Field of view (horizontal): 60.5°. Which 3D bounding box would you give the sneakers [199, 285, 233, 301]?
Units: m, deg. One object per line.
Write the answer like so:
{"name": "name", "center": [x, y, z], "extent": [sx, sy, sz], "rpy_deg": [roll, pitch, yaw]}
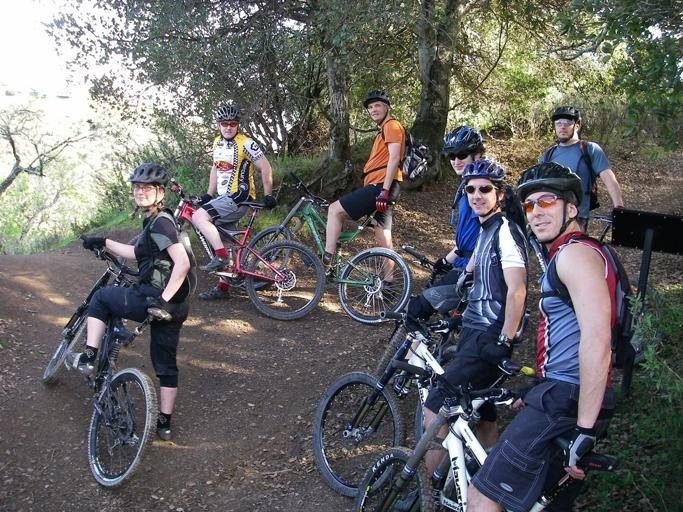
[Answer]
{"name": "sneakers", "center": [-1.903, 0.536, 8.845], "extent": [0.470, 0.210, 0.174], "rpy_deg": [1, 25, -22]}

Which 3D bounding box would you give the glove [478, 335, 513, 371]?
{"name": "glove", "center": [1.190, 0.726, 4.521], "extent": [0.225, 0.146, 0.311], "rpy_deg": [2, 3, 5]}

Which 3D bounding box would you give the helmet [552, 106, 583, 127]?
{"name": "helmet", "center": [2.790, -1.770, 7.215], "extent": [0.370, 0.188, 0.244], "rpy_deg": [9, 2, -42]}

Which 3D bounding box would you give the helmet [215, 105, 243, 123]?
{"name": "helmet", "center": [-1.651, -2.094, 8.564], "extent": [0.310, 0.417, 0.377], "rpy_deg": [1, 20, -4]}

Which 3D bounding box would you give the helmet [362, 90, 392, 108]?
{"name": "helmet", "center": [0.499, -2.293, 8.466], "extent": [0.368, 0.233, 0.321], "rpy_deg": [2, 11, 0]}

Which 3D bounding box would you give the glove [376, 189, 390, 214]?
{"name": "glove", "center": [0.603, -0.775, 8.196], "extent": [0.120, 0.273, 0.198], "rpy_deg": [13, -4, 19]}

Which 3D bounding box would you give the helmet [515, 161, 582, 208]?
{"name": "helmet", "center": [1.580, -0.546, 4.453], "extent": [0.485, 0.374, 0.617], "rpy_deg": [4, -4, 27]}

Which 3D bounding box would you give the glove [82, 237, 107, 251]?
{"name": "glove", "center": [-2.686, -0.142, 6.298], "extent": [0.196, 0.068, 0.160], "rpy_deg": [-5, -10, 37]}

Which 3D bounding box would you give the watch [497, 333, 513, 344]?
{"name": "watch", "center": [1.275, 0.658, 4.559], "extent": [0.107, 0.066, 0.107], "rpy_deg": [16, 0, -33]}

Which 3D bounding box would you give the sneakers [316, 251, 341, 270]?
{"name": "sneakers", "center": [-0.166, 0.061, 8.395], "extent": [0.412, 0.305, 0.142], "rpy_deg": [-5, 32, -5]}

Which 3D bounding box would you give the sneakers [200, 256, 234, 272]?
{"name": "sneakers", "center": [-1.802, 0.112, 8.527], "extent": [0.484, 0.228, 0.184], "rpy_deg": [-2, -8, 0]}

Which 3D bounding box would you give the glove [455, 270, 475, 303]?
{"name": "glove", "center": [1.148, 0.277, 5.506], "extent": [0.181, 0.265, 0.241], "rpy_deg": [13, -26, -28]}
